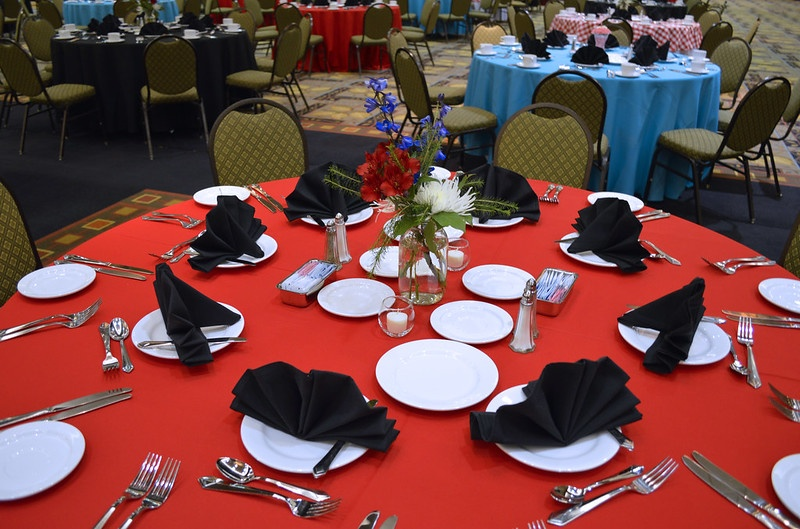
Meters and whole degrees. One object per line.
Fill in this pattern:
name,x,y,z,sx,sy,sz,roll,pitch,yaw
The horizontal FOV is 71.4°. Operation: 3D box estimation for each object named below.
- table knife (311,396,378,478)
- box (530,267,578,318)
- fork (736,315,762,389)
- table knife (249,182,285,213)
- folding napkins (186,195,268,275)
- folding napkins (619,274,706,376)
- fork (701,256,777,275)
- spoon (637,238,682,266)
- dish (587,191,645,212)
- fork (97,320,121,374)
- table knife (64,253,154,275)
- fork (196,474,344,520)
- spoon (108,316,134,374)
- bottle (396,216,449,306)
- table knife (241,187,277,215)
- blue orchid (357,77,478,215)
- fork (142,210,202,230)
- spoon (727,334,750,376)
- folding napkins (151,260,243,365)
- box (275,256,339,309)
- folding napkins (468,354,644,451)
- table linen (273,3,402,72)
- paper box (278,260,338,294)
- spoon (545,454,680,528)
table knife,-0.155,0.450,1.395,0.025,0.327,0.047,-30,72,-39
box,0.508,0.091,1.877,0.113,0.057,0.218,12,31,29
fork,1.052,0.273,1.688,0.026,0.025,0.208,1,47,13
table knife,-0.583,-0.291,2.441,0.076,0.030,0.328,-20,44,-25
folding napkins,-0.640,-0.100,2.073,0.194,0.167,0.328,2,38,3
folding napkins,0.799,0.161,1.734,0.230,0.134,0.342,10,36,36
fork,1.249,-0.005,2.046,0.243,0.044,0.102,-9,25,-11
spoon,0.968,-0.044,2.101,0.049,0.041,0.227,-17,34,-5
dish,0.938,-0.280,2.417,0.159,0.028,0.175,0,24,-4
fork,-0.890,0.249,1.699,0.041,0.017,0.210,-8,38,-29
table knife,-1.062,0.002,2.028,0.279,0.039,0.015,13,4,9
fork,-0.326,0.577,1.378,0.275,0.046,0.052,4,33,18
spoon,-0.844,0.249,1.697,0.053,0.036,0.265,-7,33,-31
bottle,0.068,-0.026,1.939,0.198,0.378,0.214,0,32,0
table knife,-0.627,-0.277,2.484,0.071,0.031,0.307,-20,45,-30
blue orchid,-0.025,-0.370,1.807,0.372,0.563,0.380,2,17,-13
fork,-0.943,-0.189,2.302,0.245,0.043,0.106,10,29,12
spoon,1.003,0.274,1.659,0.029,0.018,0.113,3,39,4
folding napkins,-0.627,0.137,1.743,0.210,0.130,0.391,-8,37,-36
box,-0.318,0.055,1.894,0.103,0.064,0.199,8,30,19
folding napkins,0.411,0.303,1.453,0.277,0.132,0.276,-15,4,6
table linen,-0.831,-2.969,7.241,1.441,1.029,1.616,1,30,1
paper box,-0.309,0.041,1.909,0.091,0.040,0.158,8,28,21
spoon,0.521,0.568,1.387,0.231,0.037,0.040,-24,42,-16
